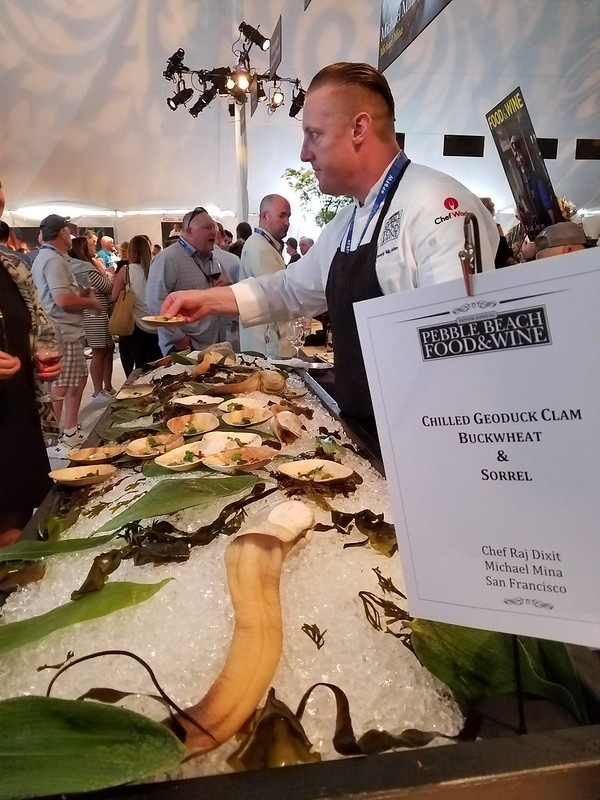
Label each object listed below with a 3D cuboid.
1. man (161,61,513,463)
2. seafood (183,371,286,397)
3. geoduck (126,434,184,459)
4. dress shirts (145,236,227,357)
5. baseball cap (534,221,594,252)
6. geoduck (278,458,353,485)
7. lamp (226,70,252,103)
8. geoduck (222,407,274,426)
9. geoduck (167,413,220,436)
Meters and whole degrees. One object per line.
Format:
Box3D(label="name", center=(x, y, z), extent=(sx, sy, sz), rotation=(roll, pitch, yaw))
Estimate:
Box3D(label="man", center=(0.261, -0.480, 2.232), extent=(1.292, 1.913, 0.985), rotation=(-4, 9, -7))
Box3D(label="seafood", center=(-0.185, -0.036, 1.525), extent=(0.259, 0.086, 0.077), rotation=(-6, -36, 1))
Box3D(label="geoduck", center=(-0.279, 0.087, 1.028), extent=(0.058, 0.015, 0.061), rotation=(-4, 19, -6))
Box3D(label="dress shirts", center=(-0.658, -0.779, 3.530), extent=(0.284, 0.519, 0.464), rotation=(-39, 26, -17))
Box3D(label="baseball cap", center=(1.123, -0.708, 2.295), extent=(0.204, 0.098, 0.135), rotation=(-8, 21, -4))
Box3D(label="geoduck", center=(0.025, 0.113, 0.835), extent=(0.103, 0.018, 0.125), rotation=(-7, 8, -21))
Box3D(label="lamp", center=(-0.785, -4.217, 7.147), extent=(0.324, 0.187, 0.417), rotation=(20, -28, 8))
Box3D(label="geoduck", center=(-0.108, 0.037, 1.164), extent=(0.110, 0.025, 0.106), rotation=(-6, 8, -14))
Box3D(label="geoduck", center=(-0.228, 0.050, 1.168), extent=(0.102, 0.028, 0.105), rotation=(-11, 10, -40))
